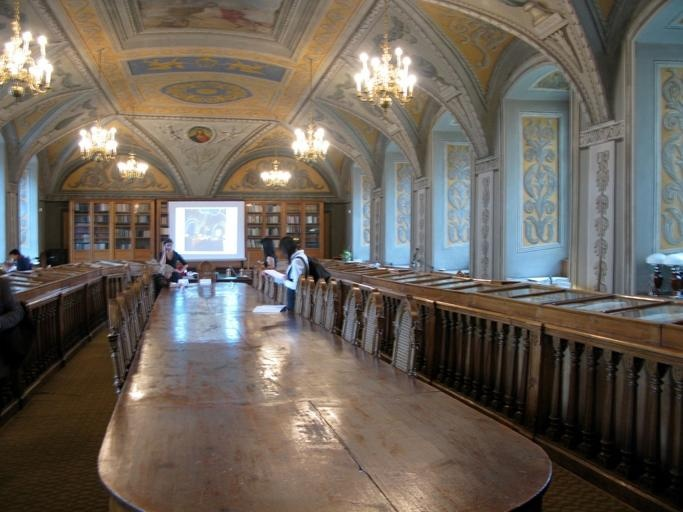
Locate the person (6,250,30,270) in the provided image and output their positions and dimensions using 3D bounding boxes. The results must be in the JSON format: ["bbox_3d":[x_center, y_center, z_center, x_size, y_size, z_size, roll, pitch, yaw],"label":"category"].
[{"bbox_3d":[-6.829,0.081,9.656,0.298,0.436,1.210,-4,4,-37],"label":"person"}]

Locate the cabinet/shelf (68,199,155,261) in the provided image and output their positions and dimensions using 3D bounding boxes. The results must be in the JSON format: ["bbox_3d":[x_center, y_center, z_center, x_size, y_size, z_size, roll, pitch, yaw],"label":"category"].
[{"bbox_3d":[-8.435,-0.896,16.423,2.487,2.238,0.845,0,-2,-9],"label":"cabinet/shelf"}]

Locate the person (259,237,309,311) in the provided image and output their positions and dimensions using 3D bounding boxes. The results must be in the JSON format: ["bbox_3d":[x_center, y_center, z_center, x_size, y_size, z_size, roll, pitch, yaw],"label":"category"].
[{"bbox_3d":[-0.698,0.432,5.685,0.511,1.336,0.485,2,22,-7],"label":"person"}]

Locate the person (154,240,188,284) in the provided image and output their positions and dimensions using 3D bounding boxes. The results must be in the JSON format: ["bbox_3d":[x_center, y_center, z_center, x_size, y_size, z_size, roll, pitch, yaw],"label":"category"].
[{"bbox_3d":[-3.662,0.262,9.708,0.616,1.070,0.643,10,16,29],"label":"person"}]

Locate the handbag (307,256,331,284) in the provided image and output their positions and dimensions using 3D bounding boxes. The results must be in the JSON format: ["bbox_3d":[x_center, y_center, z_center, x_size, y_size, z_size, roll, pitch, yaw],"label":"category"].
[{"bbox_3d":[-0.319,0.158,5.968,0.237,0.357,0.149,-20,-5,-30],"label":"handbag"}]
